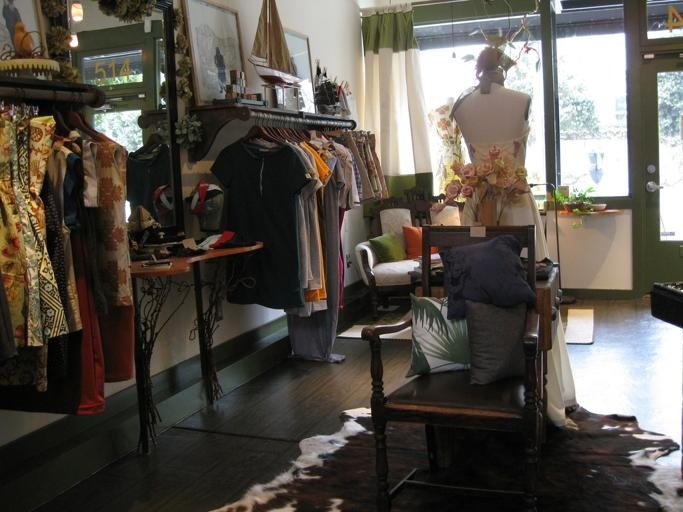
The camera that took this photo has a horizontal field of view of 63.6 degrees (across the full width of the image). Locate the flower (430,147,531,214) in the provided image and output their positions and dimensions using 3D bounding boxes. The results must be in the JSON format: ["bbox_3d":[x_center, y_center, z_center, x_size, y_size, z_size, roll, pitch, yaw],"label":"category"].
[{"bbox_3d":[0.771,-0.429,3.049,0.392,0.374,0.402,-5,6,-22],"label":"flower"}]

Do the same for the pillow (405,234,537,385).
[{"bbox_3d":[0.675,0.358,2.814,0.599,0.662,0.589,-13,-26,19],"label":"pillow"}]

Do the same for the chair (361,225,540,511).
[{"bbox_3d":[0.529,0.521,2.642,0.833,1.258,0.756,1,8,21],"label":"chair"}]

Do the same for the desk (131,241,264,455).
[{"bbox_3d":[-0.958,0.598,3.565,0.416,0.953,1.030,1,10,16],"label":"desk"}]

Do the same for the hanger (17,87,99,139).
[{"bbox_3d":[-1.277,-0.642,2.503,0.367,0.233,0.225,-9,10,-37],"label":"hanger"}]

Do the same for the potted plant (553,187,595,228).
[{"bbox_3d":[2.591,-0.523,6.177,0.386,0.344,0.472,-1,2,4],"label":"potted plant"}]

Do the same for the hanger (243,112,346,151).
[{"bbox_3d":[-0.339,-1.010,4.446,0.342,0.256,1.454,1,9,21],"label":"hanger"}]
